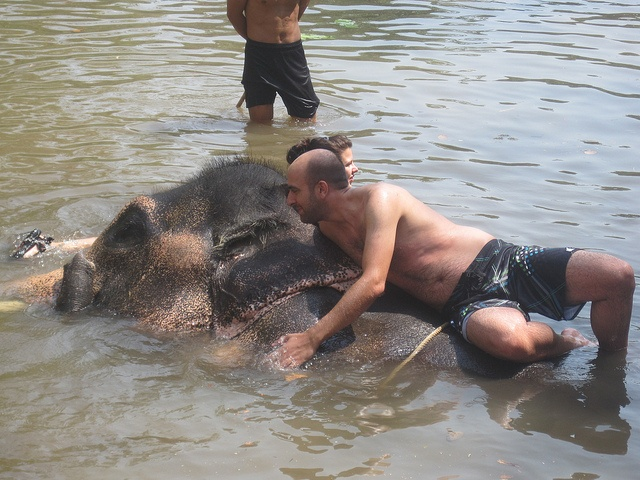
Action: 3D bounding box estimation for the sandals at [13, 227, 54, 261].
[{"bbox_3d":[-2.509,0.039,7.084,0.324,0.224,0.123,-31,89,-26],"label":"sandals"}]

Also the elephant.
[{"bbox_3d":[-0.496,0.148,5.886,3.280,1.076,0.877,9,30,13],"label":"elephant"}]
